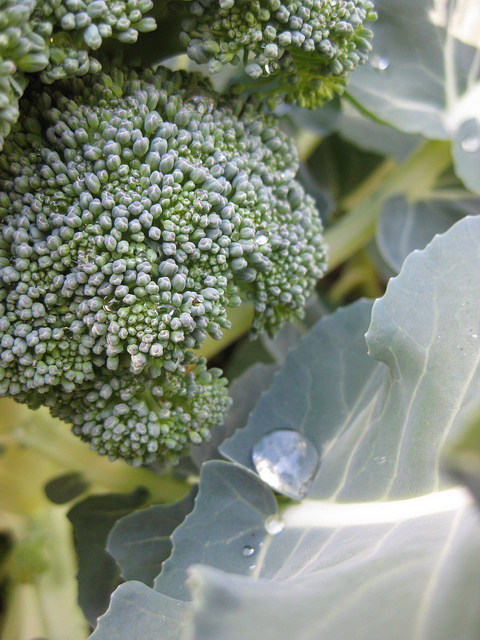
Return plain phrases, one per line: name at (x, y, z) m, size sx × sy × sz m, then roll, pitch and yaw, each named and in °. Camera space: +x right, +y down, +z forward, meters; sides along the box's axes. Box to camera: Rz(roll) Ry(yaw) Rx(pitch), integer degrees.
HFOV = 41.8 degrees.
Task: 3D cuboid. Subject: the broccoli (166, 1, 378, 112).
broccoli at (0.037, -0.294, 0.733) m, size 0.162 × 0.099 × 0.179 m, roll 29°, pitch 13°, yaw 22°
